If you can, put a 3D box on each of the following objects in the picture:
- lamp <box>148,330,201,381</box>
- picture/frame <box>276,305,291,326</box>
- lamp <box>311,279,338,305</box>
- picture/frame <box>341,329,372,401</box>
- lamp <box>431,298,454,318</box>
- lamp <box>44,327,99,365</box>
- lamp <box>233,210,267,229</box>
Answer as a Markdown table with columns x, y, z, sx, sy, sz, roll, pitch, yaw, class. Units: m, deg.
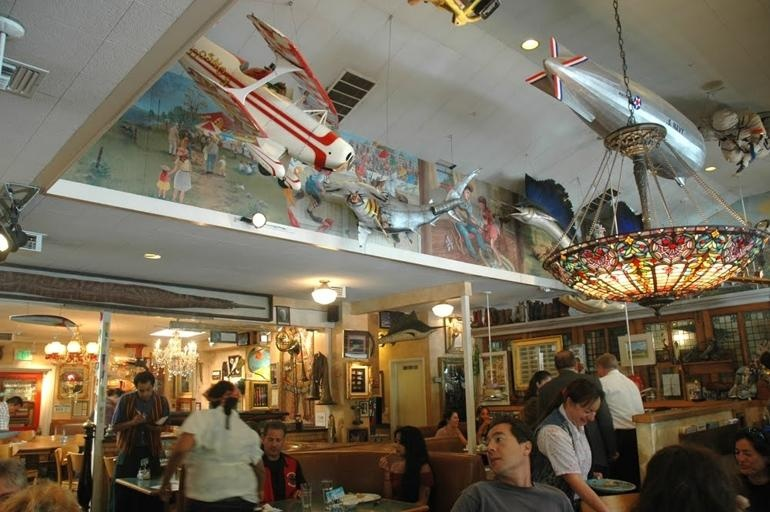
| x | y | z | sx | sy | sz | roll | pitch | yaw | class |
| --- | --- | --- | --- | --- | --- | --- | --- | --- | --- |
| -5.912 | 2.800 | 15.757 | 1.200 | 1.197 | 5.511 | 4 | -18 | -19 | lamp |
| -2.093 | 1.235 | 11.376 | 0.054 | 0.388 | 0.366 | -15 | -24 | 39 | picture/frame |
| -1.109 | 0.673 | 10.339 | 0.484 | 0.449 | 0.474 | 1 | -7 | -17 | lamp |
| -0.579 | 2.302 | 11.897 | 0.741 | 1.420 | 0.219 | 10 | -21 | -35 | picture/frame |
| 1.154 | 1.089 | 11.433 | 0.527 | 0.369 | 0.524 | -1 | -4 | 34 | lamp |
| -7.450 | 2.116 | 13.380 | 1.051 | 0.738 | 1.148 | 5 | -1 | 37 | lamp |
| -1.822 | -0.535 | 7.786 | 0.431 | 0.278 | 0.242 | 7 | -19 | -28 | lamp |
